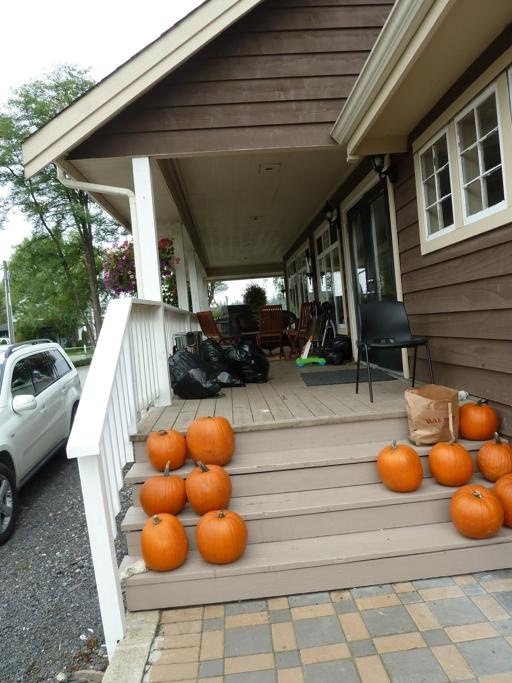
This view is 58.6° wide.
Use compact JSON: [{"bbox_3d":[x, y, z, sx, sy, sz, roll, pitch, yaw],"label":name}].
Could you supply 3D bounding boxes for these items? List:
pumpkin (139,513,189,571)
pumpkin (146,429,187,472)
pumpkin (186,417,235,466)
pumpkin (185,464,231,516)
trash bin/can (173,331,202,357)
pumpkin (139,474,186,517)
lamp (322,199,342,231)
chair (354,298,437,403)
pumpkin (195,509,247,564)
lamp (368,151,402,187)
[{"bbox_3d":[-0.383,0.837,1.998,0.213,0.230,0.205,-3,4,-24],"label":"pumpkin"},{"bbox_3d":[-0.466,0.560,2.454,0.199,0.204,0.203,-2,0,45],"label":"pumpkin"},{"bbox_3d":[-0.225,0.503,2.405,0.234,0.245,0.240,0,0,6],"label":"pumpkin"},{"bbox_3d":[-0.213,0.683,2.252,0.239,0.303,0.239,-2,0,-18],"label":"pumpkin"},{"bbox_3d":[-0.806,0.003,5.400,0.344,0.305,0.491,-2,0,-2],"label":"trash bin/can"},{"bbox_3d":[-0.418,0.693,2.175,0.194,0.185,0.201,4,3,13],"label":"pumpkin"},{"bbox_3d":[1.006,-1.671,6.056,0.168,0.381,0.575,-6,-2,7],"label":"lamp"},{"bbox_3d":[1.026,0.073,3.424,0.582,0.744,0.565,-4,2,-21],"label":"chair"},{"bbox_3d":[-0.146,0.795,1.975,0.218,0.215,0.204,-4,9,-31],"label":"pumpkin"},{"bbox_3d":[1.118,-1.504,3.957,0.205,0.261,0.188,-6,-2,10],"label":"lamp"}]
